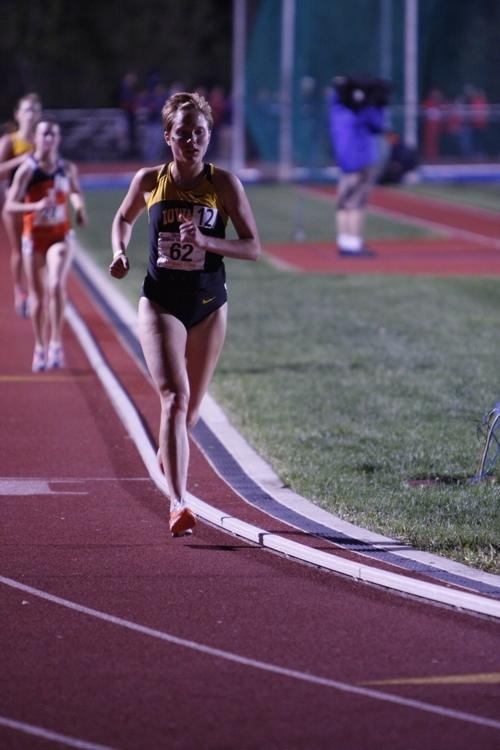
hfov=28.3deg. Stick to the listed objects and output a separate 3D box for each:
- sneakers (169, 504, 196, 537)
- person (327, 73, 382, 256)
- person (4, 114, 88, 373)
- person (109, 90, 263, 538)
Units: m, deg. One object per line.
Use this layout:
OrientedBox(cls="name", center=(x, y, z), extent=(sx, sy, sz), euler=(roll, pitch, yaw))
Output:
OrientedBox(cls="sneakers", center=(-0.283, 0.608, 4.094), extent=(0.102, 0.136, 0.150), euler=(-8, -31, 15))
OrientedBox(cls="person", center=(0.630, -1.262, 5.992), extent=(0.314, 1.060, 0.556), euler=(2, 14, 5))
OrientedBox(cls="person", center=(-1.510, -0.891, 7.328), extent=(0.534, 1.890, 0.697), euler=(-1, 14, -3))
OrientedBox(cls="person", center=(-0.317, -0.260, 4.211), extent=(0.648, 1.841, 0.755), euler=(2, 14, 7))
